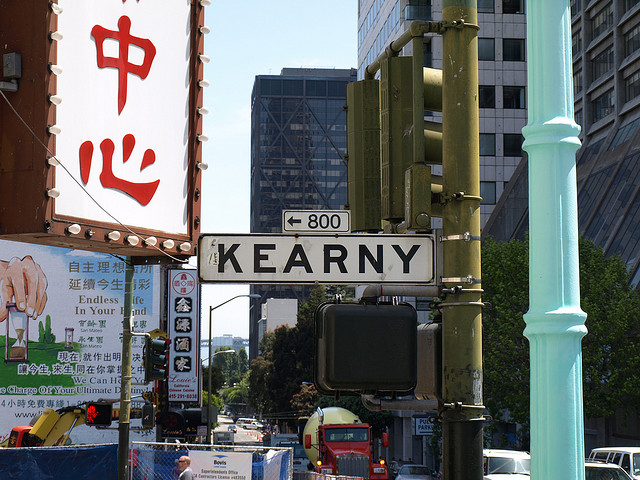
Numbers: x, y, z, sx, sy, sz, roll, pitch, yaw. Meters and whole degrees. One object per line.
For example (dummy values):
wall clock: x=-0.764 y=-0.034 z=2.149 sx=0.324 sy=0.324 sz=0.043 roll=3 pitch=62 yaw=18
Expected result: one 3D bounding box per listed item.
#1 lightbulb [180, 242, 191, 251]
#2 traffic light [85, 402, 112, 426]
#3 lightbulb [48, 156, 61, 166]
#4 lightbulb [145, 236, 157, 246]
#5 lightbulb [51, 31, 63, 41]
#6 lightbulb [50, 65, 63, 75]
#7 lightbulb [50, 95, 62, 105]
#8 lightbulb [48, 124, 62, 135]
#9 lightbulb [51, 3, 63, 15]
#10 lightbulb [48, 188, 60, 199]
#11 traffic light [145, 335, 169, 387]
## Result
lightbulb: x=-5.152 y=0.222 z=59.126 sx=0.275 sy=0.233 sz=0.303 roll=-3 pitch=-19 yaw=11
traffic light: x=-9.495 y=7.436 z=66.595 sx=0.944 sy=1.055 sz=0.397 roll=0 pitch=-3 yaw=2
lightbulb: x=-9.770 y=-2.942 z=57.087 sx=0.329 sy=0.327 sz=0.265 roll=19 pitch=-16 yaw=-24
lightbulb: x=-6.344 y=0.028 z=58.368 sx=0.301 sy=0.283 sz=0.271 roll=0 pitch=-17 yaw=15
lightbulb: x=-9.659 y=-7.509 z=57.138 sx=0.273 sy=0.323 sz=0.345 roll=4 pitch=-10 yaw=4
lightbulb: x=-9.688 y=-6.285 z=56.971 sx=0.416 sy=0.273 sz=0.166 roll=12 pitch=-8 yaw=-37
lightbulb: x=-9.687 y=-5.193 z=57.056 sx=0.242 sy=0.364 sz=0.487 roll=-10 pitch=-15 yaw=40
lightbulb: x=-9.743 y=-4.111 z=57.039 sx=0.510 sy=0.382 sz=0.227 roll=6 pitch=-13 yaw=-31
lightbulb: x=-9.676 y=-8.501 z=57.042 sx=0.286 sy=0.406 sz=0.414 roll=6 pitch=-27 yaw=-12
lightbulb: x=-9.765 y=-1.739 z=56.919 sx=0.324 sy=0.307 sz=0.290 roll=0 pitch=-6 yaw=16
traffic light: x=-7.032 y=5.151 z=66.654 sx=0.932 sy=2.147 sz=1.375 roll=0 pitch=-11 yaw=-4
